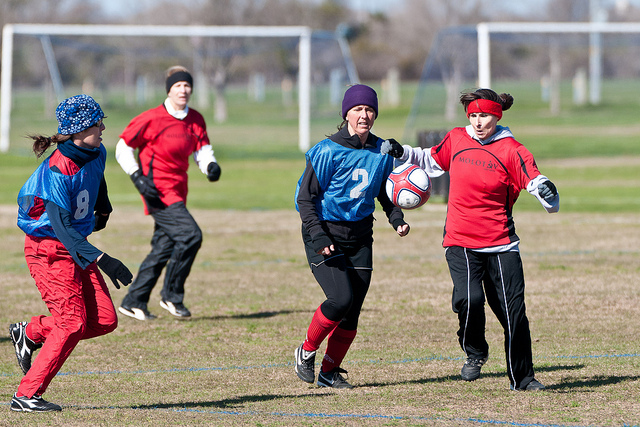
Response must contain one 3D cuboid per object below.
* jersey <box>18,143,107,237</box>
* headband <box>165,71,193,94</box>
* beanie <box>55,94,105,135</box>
[{"bbox_3d":[-3.174,-0.245,14.121,0.766,1.253,1.342,21,20,16],"label":"jersey"},{"bbox_3d":[-2.024,-1.883,16.273,0.299,0.164,0.307,-9,7,30],"label":"headband"},{"bbox_3d":[-2.953,-1.218,13.846,0.526,0.314,0.434,-22,20,15],"label":"beanie"}]
